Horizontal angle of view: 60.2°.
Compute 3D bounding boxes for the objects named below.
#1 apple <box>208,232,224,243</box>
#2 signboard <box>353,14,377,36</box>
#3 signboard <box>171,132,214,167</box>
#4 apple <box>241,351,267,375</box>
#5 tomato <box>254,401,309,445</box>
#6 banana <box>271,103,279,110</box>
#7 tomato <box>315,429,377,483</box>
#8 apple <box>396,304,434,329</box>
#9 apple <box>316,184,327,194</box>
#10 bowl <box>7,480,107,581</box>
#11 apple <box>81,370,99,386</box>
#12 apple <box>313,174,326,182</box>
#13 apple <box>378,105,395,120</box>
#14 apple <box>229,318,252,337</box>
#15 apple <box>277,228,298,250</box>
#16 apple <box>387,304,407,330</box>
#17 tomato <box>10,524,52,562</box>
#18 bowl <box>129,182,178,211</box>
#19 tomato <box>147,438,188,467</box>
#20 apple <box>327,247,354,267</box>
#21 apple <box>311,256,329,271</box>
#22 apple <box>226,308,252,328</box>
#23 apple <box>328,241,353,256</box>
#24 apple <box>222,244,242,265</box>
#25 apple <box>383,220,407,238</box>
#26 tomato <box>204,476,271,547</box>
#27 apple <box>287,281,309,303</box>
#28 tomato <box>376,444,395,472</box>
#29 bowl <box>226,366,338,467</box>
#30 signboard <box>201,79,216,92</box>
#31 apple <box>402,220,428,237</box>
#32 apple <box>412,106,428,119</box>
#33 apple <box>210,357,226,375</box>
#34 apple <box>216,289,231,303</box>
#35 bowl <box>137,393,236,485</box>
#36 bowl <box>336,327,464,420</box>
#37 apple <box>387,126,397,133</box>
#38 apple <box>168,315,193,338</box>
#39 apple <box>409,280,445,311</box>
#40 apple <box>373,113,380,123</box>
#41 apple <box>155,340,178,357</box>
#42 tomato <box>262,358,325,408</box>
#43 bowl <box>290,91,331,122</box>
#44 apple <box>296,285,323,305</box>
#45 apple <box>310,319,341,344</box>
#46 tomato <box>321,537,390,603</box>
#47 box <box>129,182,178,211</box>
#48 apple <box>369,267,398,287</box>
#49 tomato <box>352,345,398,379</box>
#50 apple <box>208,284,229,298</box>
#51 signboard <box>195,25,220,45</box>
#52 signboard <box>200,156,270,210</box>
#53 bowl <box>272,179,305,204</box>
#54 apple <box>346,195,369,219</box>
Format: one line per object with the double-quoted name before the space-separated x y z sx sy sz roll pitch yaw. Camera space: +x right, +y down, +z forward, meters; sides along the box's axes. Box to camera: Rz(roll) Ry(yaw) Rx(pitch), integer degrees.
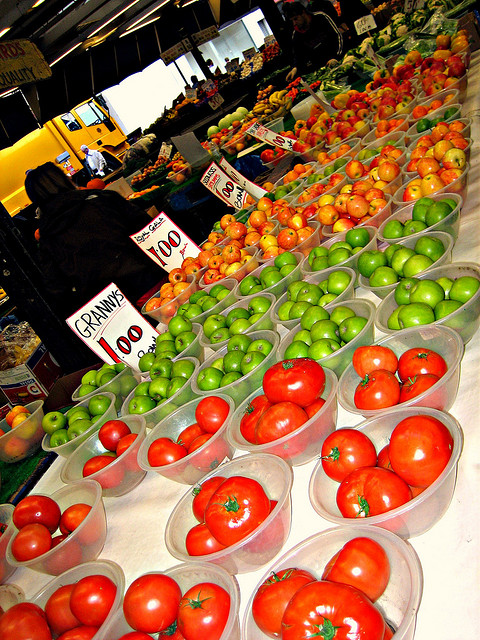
"apple" -0.176 -0.637 3.021 0.094 0.091 0.090 -3 50 6
"signboard" 1.780 -4.334 5.864 0.254 0.200 0.334 -22 23 28
"signboard" -0.649 -2.422 5.710 0.386 0.213 0.659 -35 -10 6
"apple" 0.044 0.173 1.537 0.083 0.084 0.083 -26 45 14
"tomato" 0.104 0.268 1.121 0.123 0.116 0.120 3 16 -24
"banana" 0.516 -3.135 5.861 0.073 0.054 0.079 -8 29 -5
"tomato" 0.241 0.306 0.929 0.123 0.132 0.127 -24 58 48
"apple" 0.498 -0.015 1.169 0.074 0.073 0.073 -34 57 -6
"apple" 0.521 -0.866 2.646 0.051 0.059 0.050 -14 38 -8
"bowl" -0.604 0.734 1.376 0.294 0.132 0.293 -32 26 18
"apple" -0.848 0.339 2.333 0.065 0.070 0.082 -36 25 20
"apple" 0.543 -0.996 2.791 0.057 0.057 0.071 -8 5 2
"apple" 1.094 -1.610 3.082 0.107 0.132 0.105 1 56 4
"apple" -0.007 0.022 1.798 0.076 0.077 0.087 -32 27 7
"apple" 0.262 -0.438 2.237 0.113 0.111 0.107 1 62 7
"apple" 0.482 -0.008 1.261 0.057 0.058 0.053 -61 30 1
"tomato" -0.674 0.740 1.328 0.096 0.127 0.095 125 147 -56
"bowl" -1.101 -1.651 5.372 0.489 0.161 0.479 -23 13 6
"tomato" -0.240 0.437 1.324 0.101 0.098 0.096 19 10 -1
"apple" 0.418 -0.278 1.758 0.115 0.051 0.104 -23 23 26
"apple" 0.357 -0.257 1.828 0.069 0.065 0.064 1 -14 -13
"apple" -0.009 -0.015 1.946 0.092 0.098 0.106 -37 45 56
"apple" 0.454 -0.332 1.824 0.069 0.066 0.078 0 21 8
"apple" -0.038 -0.403 2.515 0.117 0.135 0.113 -3 46 3
"apple" 0.639 -0.395 1.704 0.085 0.077 0.078 0 19 10
"tomato" -0.004 0.469 0.986 0.159 0.147 0.148 -44 37 37
"apple" 0.244 -0.118 1.763 0.087 0.083 0.086 -11 -6 13
"tomato" 0.333 0.329 0.955 0.055 0.054 0.064 -7 61 25
"bowl" 0.157 0.297 1.142 0.300 0.134 0.297 -34 19 13
"signboard" -0.684 -5.342 9.135 0.276 0.281 0.086 -59 -20 8
"apple" 0.679 -0.369 1.589 0.066 0.065 0.064 -4 19 3
"apple" 1.162 -1.388 2.663 0.073 0.071 0.085 -1 70 7
"apple" -0.089 0.191 1.669 0.051 0.057 0.056 111 180 -65
"apple" -0.092 -0.141 2.206 0.064 0.062 0.074 -1 48 12
"bowl" -0.113 0.465 1.370 0.311 0.163 0.313 -44 11 11
"bowl" 0.409 0.133 1.027 0.275 0.131 0.282 -34 10 7
"apple" 1.050 -1.363 2.849 0.047 0.032 0.059 -25 15 29
"apple" -0.299 0.035 2.151 0.110 0.107 0.108 -5 36 4
"apple" 0.557 -0.083 1.268 0.088 0.090 0.088 -63 -13 -10
"apple" 1.094 -1.668 3.309 0.058 0.052 0.056 -7 49 2
"apple" -0.368 0.134 2.067 0.084 0.082 0.098 -6 63 -4
"tomato" 0.169 0.166 1.192 0.153 0.112 0.143 -2 19 43
"bowl" 0.728 -2.396 4.549 0.270 0.189 0.359 -27 21 17
"apple" 0.277 -0.109 1.657 0.092 0.089 0.090 -3 26 10
"apple" 0.288 0.035 1.361 0.080 0.078 0.077 -7 41 14
"tomato" 0.226 0.476 0.757 0.105 0.106 0.101 5 79 28
"box" -1.122 -1.643 5.405 0.479 0.160 0.483 -15 20 36
"apple" 0.516 -0.152 1.516 0.097 0.078 0.079 -23 18 -41
"tomato" 0.363 0.103 1.114 0.100 0.091 0.096 -4 2 3
"apple" -0.117 -0.173 2.292 0.080 0.077 0.093 5 50 5
"signboard" -0.791 -6.969 9.747 0.267 0.189 0.817 -12 29 44
"signboard" -0.050 -1.102 3.226 0.392 0.439 0.275 -32 21 6
"bowl" 0.361 -0.969 2.994 0.165 0.090 0.166 -33 24 17
"apple" 0.579 -0.570 2.005 0.099 0.112 0.084 -30 21 10
